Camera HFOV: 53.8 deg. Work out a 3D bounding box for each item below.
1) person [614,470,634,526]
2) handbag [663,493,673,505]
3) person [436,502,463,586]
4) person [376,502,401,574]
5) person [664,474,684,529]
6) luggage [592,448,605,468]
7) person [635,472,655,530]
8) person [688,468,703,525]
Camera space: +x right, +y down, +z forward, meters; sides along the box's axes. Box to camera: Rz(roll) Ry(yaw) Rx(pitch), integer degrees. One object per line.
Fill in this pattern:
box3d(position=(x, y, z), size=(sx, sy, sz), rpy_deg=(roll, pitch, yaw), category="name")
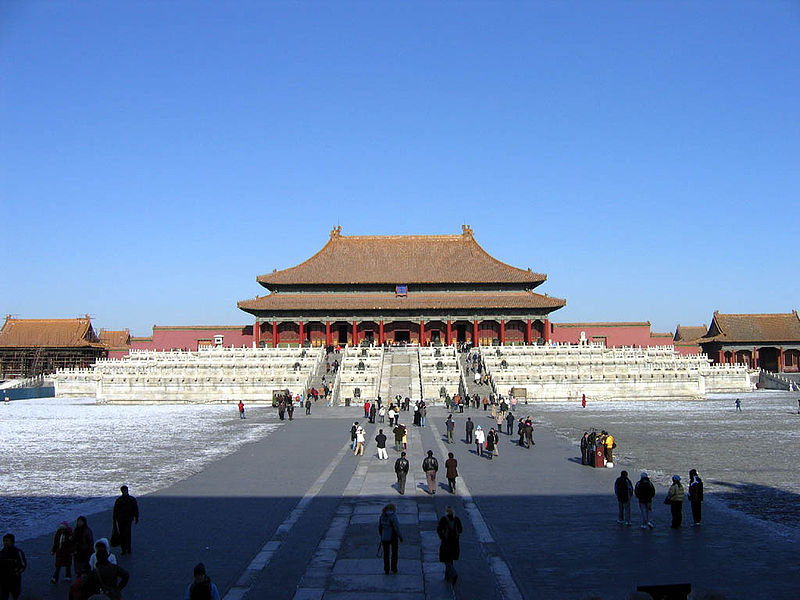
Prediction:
box3d(position=(6.353, 5.482, 22.505), size=(0.425, 1.532, 1.931), rpy_deg=(-2, -4, 15), category="person")
box3d(position=(7.423, 5.504, 21.880), size=(0.187, 0.300, 0.635), rpy_deg=(-2, -4, 19), category="handbag")
box3d(position=(1.166, 5.646, 18.631), size=(0.527, 1.697, 1.195), rpy_deg=(-1, -4, 3), category="person")
box3d(position=(-0.223, 5.642, 18.915), size=(0.475, 1.570, 0.879), rpy_deg=(0, -4, 0), category="person")
box3d(position=(7.746, 5.585, 22.347), size=(0.501, 1.383, 1.732), rpy_deg=(-2, -4, 18), category="person")
box3d(position=(7.468, 5.900, 29.660), size=(0.354, 0.677, 0.210), rpy_deg=(-1, -4, 9), category="luggage")
box3d(position=(6.918, 5.535, 22.416), size=(0.481, 1.523, 1.983), rpy_deg=(-2, -4, 16), category="person")
box3d(position=(8.410, 5.505, 22.522), size=(0.356, 1.493, 1.311), rpy_deg=(-2, -4, 19), category="person")
